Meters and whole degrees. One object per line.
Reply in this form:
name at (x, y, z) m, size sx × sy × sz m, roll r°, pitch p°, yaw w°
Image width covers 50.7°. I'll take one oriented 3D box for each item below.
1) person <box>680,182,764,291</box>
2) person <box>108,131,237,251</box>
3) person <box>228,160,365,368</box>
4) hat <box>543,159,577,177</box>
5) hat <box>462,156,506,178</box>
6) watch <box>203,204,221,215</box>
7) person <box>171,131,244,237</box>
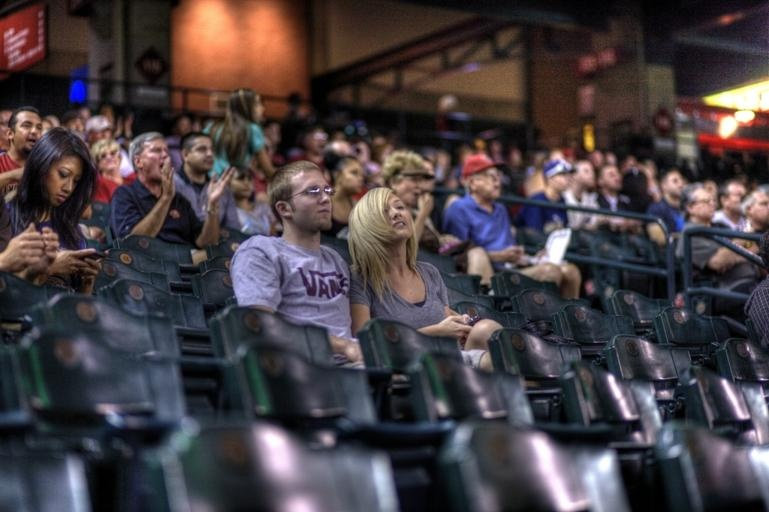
person at (2.669, -0.118, 6.444) m, size 0.578 × 0.962 × 0.537 m, roll -15°, pitch 12°, yaw -20°
person at (-1.458, -0.362, 5.603) m, size 0.911 × 0.946 × 0.686 m, roll -3°, pitch 3°, yaw 6°
person at (-0.301, 0.044, 4.026) m, size 0.815 × 1.029 × 0.750 m, roll -6°, pitch -8°, yaw 33°
hat at (1.689, -0.851, 7.711) m, size 0.253 × 0.096 × 0.181 m, roll 3°, pitch -11°, yaw -43°
hat at (0.781, -0.751, 6.772) m, size 0.276 × 0.150 × 0.199 m, roll -21°, pitch -2°, yaw 32°
watch at (-1.182, -0.337, 5.570) m, size 0.111 × 0.049 × 0.119 m, roll 0°, pitch -11°, yaw -20°
person at (-1.399, -0.497, 6.079) m, size 0.486 × 0.836 × 0.613 m, roll -3°, pitch 2°, yaw 40°
